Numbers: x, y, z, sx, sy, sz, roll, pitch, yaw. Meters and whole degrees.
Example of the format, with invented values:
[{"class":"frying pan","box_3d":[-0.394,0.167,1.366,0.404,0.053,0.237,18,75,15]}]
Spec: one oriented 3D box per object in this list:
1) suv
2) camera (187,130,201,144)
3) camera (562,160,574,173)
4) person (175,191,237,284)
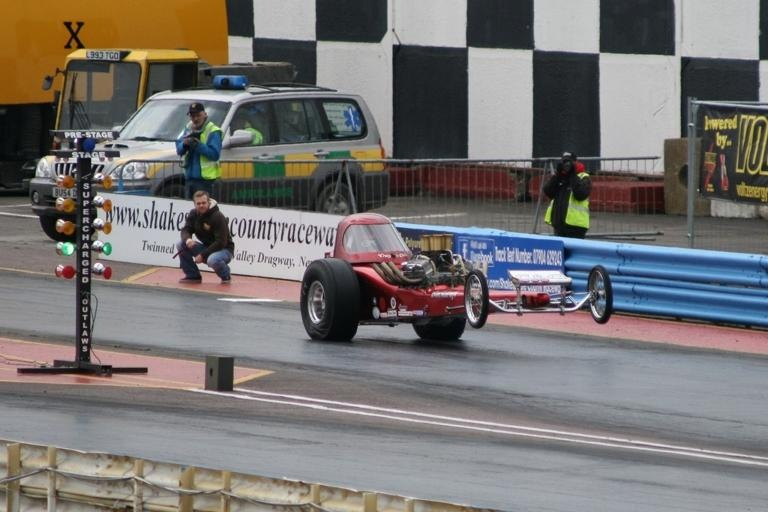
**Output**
[{"class":"suv","box_3d":[-2.619,-2.129,37.778,5.375,2.505,2.715,0,6,-1]},{"class":"camera","box_3d":[-3.482,-2.159,36.006,0.195,0.211,0.225,0,6,0]},{"class":"camera","box_3d":[3.289,-1.584,35.148,0.203,0.202,0.211,0,2,12]},{"class":"person","box_3d":[-3.189,-0.336,35.078,0.842,1.757,1.077,1,-4,4]}]
